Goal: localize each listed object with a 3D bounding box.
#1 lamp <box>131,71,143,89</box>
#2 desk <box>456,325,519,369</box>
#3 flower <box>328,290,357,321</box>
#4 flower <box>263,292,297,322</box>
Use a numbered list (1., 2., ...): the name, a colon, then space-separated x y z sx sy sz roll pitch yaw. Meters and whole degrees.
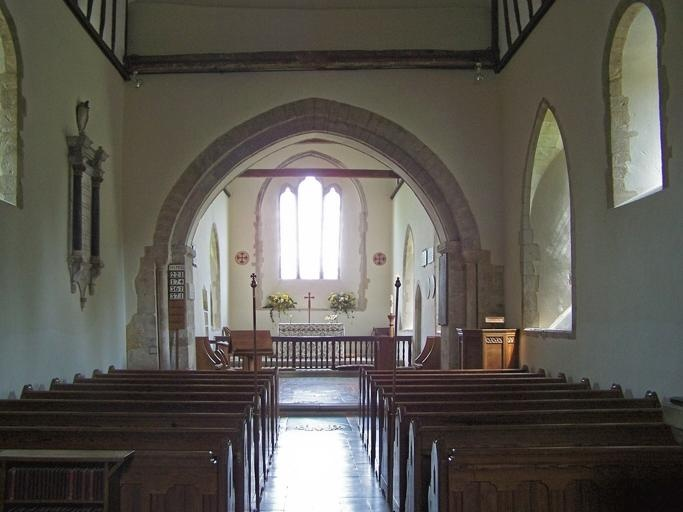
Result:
1. lamp: -3.149 -2.718 10.397 0.077 0.237 0.155 -12 -25 -33
2. desk: 2.121 1.325 9.701 0.765 0.711 0.812 -2 2 -30
3. flower: 0.050 1.412 18.872 0.657 0.708 0.648 6 -27 5
4. flower: -1.667 1.346 18.394 0.678 0.801 0.750 2 -2 -12
